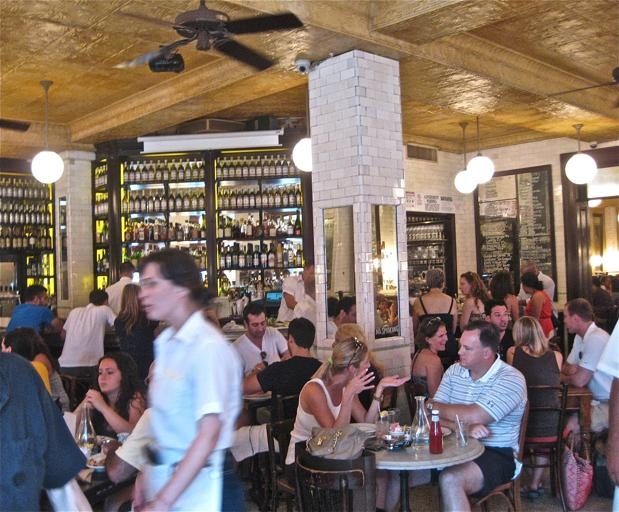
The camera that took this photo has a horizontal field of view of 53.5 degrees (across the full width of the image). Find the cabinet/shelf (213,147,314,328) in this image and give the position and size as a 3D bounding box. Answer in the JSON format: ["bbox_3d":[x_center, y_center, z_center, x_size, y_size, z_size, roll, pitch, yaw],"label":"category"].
[{"bbox_3d":[-0.725,-0.218,9.079,1.296,2.542,0.358,-1,-18,-12],"label":"cabinet/shelf"}]

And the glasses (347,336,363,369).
[{"bbox_3d":[0.293,0.653,4.177,0.043,0.141,0.124,10,17,-5],"label":"glasses"}]

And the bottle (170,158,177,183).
[{"bbox_3d":[-2.072,-1.278,9.370,0.098,0.246,0.096,-3,-1,0],"label":"bottle"}]

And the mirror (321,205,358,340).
[{"bbox_3d":[0.330,0.212,6.419,0.063,1.190,0.293,16,5,1],"label":"mirror"}]

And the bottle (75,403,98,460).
[{"bbox_3d":[-1.445,1.134,3.967,0.161,0.382,0.166,-1,-3,0],"label":"bottle"}]

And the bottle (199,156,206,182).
[{"bbox_3d":[-1.600,-1.284,9.156,0.055,0.270,0.208,-2,-1,-32],"label":"bottle"}]

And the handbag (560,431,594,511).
[{"bbox_3d":[2.190,1.777,5.032,0.218,0.654,0.259,-1,-20,23],"label":"handbag"}]

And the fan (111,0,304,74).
[{"bbox_3d":[-0.860,-1.946,5.426,0.905,0.295,0.820,1,8,21],"label":"fan"}]

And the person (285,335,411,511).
[{"bbox_3d":[0.212,1.285,4.288,0.762,1.299,0.524,4,3,28],"label":"person"}]

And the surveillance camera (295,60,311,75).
[{"bbox_3d":[-0.063,-1.948,6.362,0.112,0.112,0.116,0,0,32],"label":"surveillance camera"}]

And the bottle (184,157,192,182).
[{"bbox_3d":[-1.832,-1.269,9.293,0.117,0.236,0.068,-3,-1,10],"label":"bottle"}]

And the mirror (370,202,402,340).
[{"bbox_3d":[0.756,0.190,6.355,0.434,1.729,0.151,-7,14,-18],"label":"mirror"}]

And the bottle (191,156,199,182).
[{"bbox_3d":[-1.709,-1.282,9.237,0.161,0.270,0.081,-4,-1,42],"label":"bottle"}]

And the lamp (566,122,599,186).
[{"bbox_3d":[3.944,-1.472,8.939,0.429,0.893,0.429,0,-4,-10],"label":"lamp"}]

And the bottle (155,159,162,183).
[{"bbox_3d":[-2.301,-1.283,9.411,0.123,0.242,0.050,-3,-1,13],"label":"bottle"}]

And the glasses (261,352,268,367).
[{"bbox_3d":[-0.428,0.968,5.790,0.087,0.112,0.051,2,-11,-26],"label":"glasses"}]

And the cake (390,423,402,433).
[{"bbox_3d":[0.562,1.118,3.970,0.077,0.039,0.092,1,21,1],"label":"cake"}]

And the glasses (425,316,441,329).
[{"bbox_3d":[1.114,0.600,5.520,0.126,0.125,0.037,3,8,-24],"label":"glasses"}]

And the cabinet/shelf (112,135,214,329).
[{"bbox_3d":[-2.334,-0.685,9.665,1.407,0.346,2.447,6,-40,-10],"label":"cabinet/shelf"}]

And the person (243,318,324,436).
[{"bbox_3d":[-0.144,1.101,5.196,0.654,1.157,0.700,5,4,20],"label":"person"}]

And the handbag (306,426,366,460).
[{"bbox_3d":[0.145,1.090,3.688,0.374,0.147,0.380,-2,-6,8],"label":"handbag"}]

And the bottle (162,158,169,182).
[{"bbox_3d":[-2.196,-1.284,9.385,0.092,0.245,0.087,-3,-1,0],"label":"bottle"}]

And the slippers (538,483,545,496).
[{"bbox_3d":[1.997,2.007,5.293,0.040,0.047,0.121,-1,-7,6],"label":"slippers"}]

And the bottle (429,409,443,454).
[{"bbox_3d":[0.787,1.085,3.841,0.083,0.261,0.169,-3,-1,11],"label":"bottle"}]
